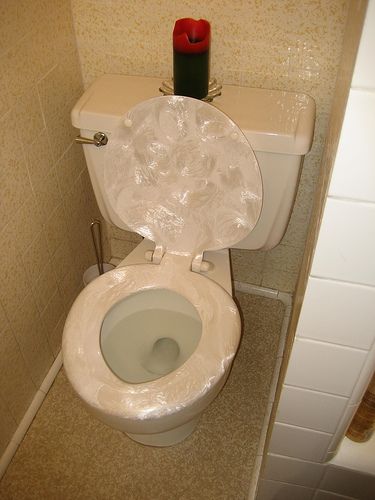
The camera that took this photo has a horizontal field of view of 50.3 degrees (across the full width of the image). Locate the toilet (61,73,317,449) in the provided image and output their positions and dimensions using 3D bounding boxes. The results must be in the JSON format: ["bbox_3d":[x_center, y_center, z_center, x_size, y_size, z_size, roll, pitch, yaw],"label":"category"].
[{"bbox_3d":[-0.026,0.124,1.156,0.524,0.932,0.953,3,58,-5],"label":"toilet"}]
